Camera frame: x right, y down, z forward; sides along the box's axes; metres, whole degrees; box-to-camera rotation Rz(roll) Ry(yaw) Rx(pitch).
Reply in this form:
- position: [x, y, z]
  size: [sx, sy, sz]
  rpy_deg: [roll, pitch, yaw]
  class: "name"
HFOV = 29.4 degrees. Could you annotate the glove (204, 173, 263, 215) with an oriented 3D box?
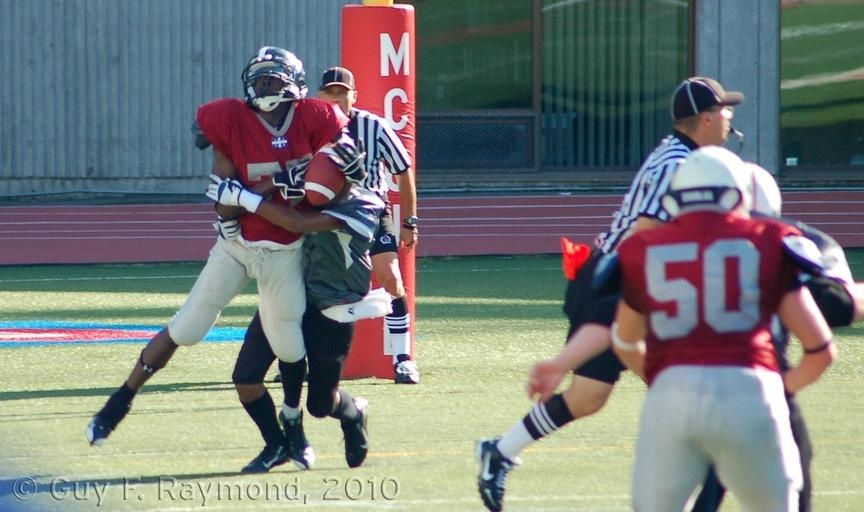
- position: [-2.395, -0.748, 19.968]
  size: [0.717, 0.442, 0.167]
  rpy_deg: [2, 9, 10]
  class: "glove"
